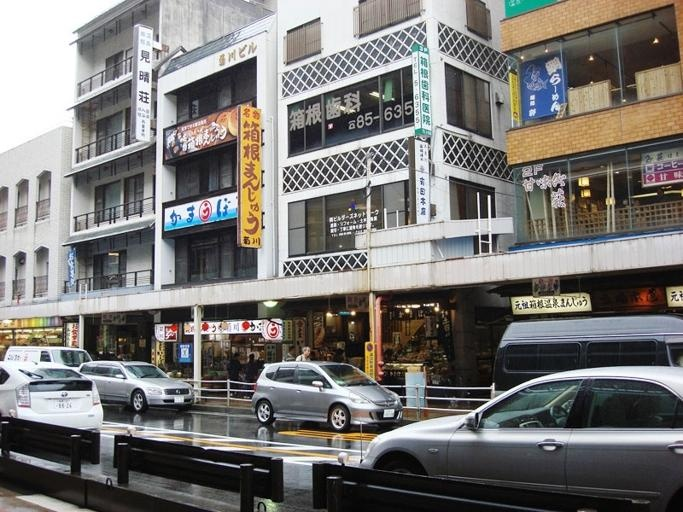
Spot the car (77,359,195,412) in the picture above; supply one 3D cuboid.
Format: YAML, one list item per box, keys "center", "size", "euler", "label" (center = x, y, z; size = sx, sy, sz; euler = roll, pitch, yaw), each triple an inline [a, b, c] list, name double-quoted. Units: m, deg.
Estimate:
- center: [-7.485, 4.445, 25.727]
  size: [4.123, 1.459, 1.894]
  euler: [-6, -11, 38]
  label: "car"

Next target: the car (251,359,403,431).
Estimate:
- center: [-0.556, 3.971, 20.698]
  size: [3.429, 1.491, 2.047]
  euler: [-9, -13, 35]
  label: "car"
